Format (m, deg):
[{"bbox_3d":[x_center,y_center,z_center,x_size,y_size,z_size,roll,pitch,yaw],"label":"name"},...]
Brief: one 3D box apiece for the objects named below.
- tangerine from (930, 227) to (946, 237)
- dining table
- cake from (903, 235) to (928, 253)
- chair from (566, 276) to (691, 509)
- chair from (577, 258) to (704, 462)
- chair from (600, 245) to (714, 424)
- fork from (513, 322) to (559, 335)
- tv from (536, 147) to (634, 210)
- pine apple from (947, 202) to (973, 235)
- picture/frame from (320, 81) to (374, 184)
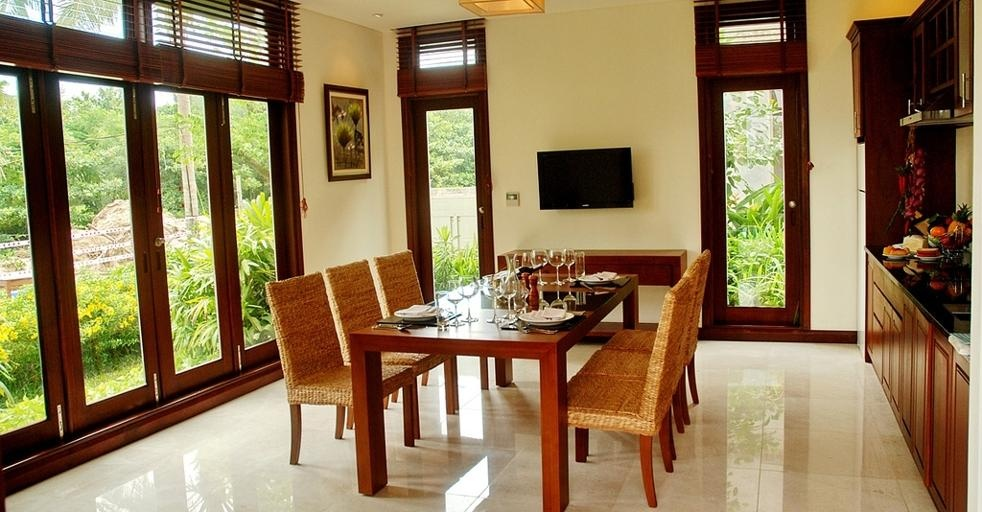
[{"bbox_3d":[4.313,-0.240,6.200,0.129,0.091,0.138,5,11,38],"label":"tangerine"},{"bbox_3d":[-0.106,0.654,5.583,1.645,1.137,2.822,1,8,17],"label":"dining table"},{"bbox_3d":[4.273,-0.133,6.469,0.196,0.128,0.193,8,16,40],"label":"cake"},{"bbox_3d":[1.170,1.075,5.457,0.914,1.776,1.027,2,10,24],"label":"chair"},{"bbox_3d":[1.373,0.963,5.877,0.895,1.152,1.781,3,10,22],"label":"chair"},{"bbox_3d":[1.478,0.837,6.025,1.028,1.451,0.891,-2,17,26],"label":"chair"},{"bbox_3d":[0.376,0.595,5.231,0.245,0.037,0.047,11,22,13],"label":"fork"},{"bbox_3d":[1.240,-1.000,8.151,0.946,0.550,0.114,0,9,16],"label":"tv"},{"bbox_3d":[4.441,-0.343,6.065,0.169,0.252,0.241,5,11,36],"label":"pine apple"},{"bbox_3d":[-1.856,-1.575,8.232,0.158,1.196,0.807,3,11,27],"label":"picture/frame"}]
